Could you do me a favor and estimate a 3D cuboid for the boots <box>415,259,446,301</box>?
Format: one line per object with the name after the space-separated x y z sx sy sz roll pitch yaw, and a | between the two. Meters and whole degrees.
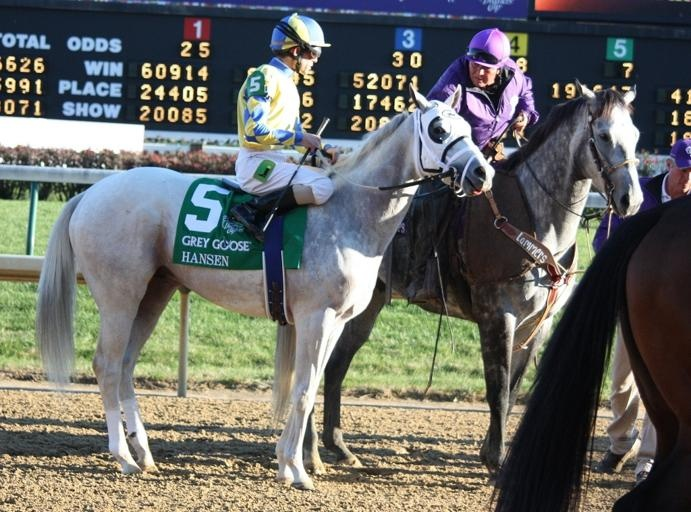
0.590 0.180 8.425 0.190 0.387 0.315 1 0 10 | boots

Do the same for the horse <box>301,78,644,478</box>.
0.738 0.267 8.753 2.809 2.555 0.818 -6 -17 40 | horse

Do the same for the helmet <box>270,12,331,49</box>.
-0.302 -1.494 8.349 0.398 0.271 0.302 3 25 -10 | helmet

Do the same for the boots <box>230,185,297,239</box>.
-0.532 -0.287 8.128 0.431 0.344 0.149 3 11 -1 | boots

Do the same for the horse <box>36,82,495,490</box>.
-0.527 0.340 8.847 2.467 2.443 0.851 3 -5 7 | horse
